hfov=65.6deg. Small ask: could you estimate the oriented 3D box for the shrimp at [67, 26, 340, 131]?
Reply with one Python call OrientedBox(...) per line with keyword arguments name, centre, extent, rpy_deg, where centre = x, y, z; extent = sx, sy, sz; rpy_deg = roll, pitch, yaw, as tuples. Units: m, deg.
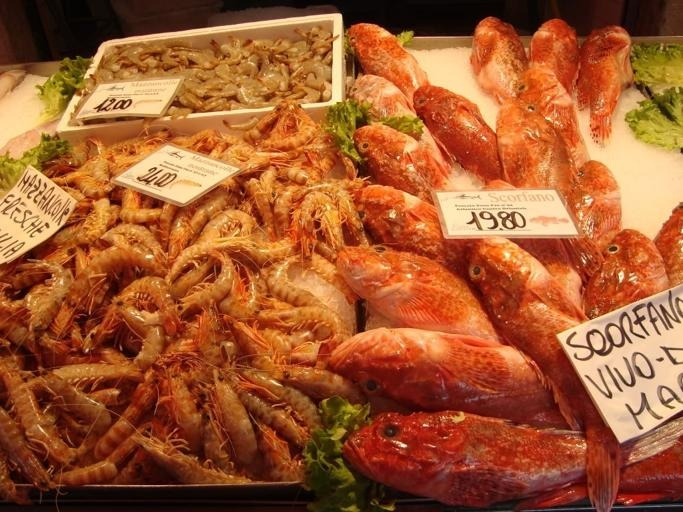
OrientedBox(name="shrimp", centre=(-0.665, -1.067, 3.070), extent=(1.324, 0.338, 0.723), rpy_deg=(-2, 51, 2))
